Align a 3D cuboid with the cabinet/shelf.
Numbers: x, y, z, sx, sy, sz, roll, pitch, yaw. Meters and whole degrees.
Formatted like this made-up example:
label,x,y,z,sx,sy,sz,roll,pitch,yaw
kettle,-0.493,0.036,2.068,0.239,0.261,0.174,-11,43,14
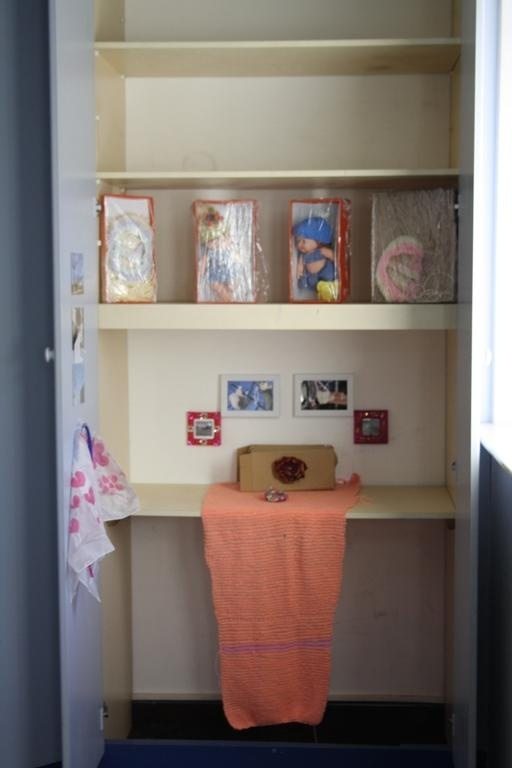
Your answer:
label,x,y,z,sx,sy,sz,roll,pitch,yaw
cabinet/shelf,0.060,-0.012,2.188,1.130,2.221,0.864,-2,2,-14
